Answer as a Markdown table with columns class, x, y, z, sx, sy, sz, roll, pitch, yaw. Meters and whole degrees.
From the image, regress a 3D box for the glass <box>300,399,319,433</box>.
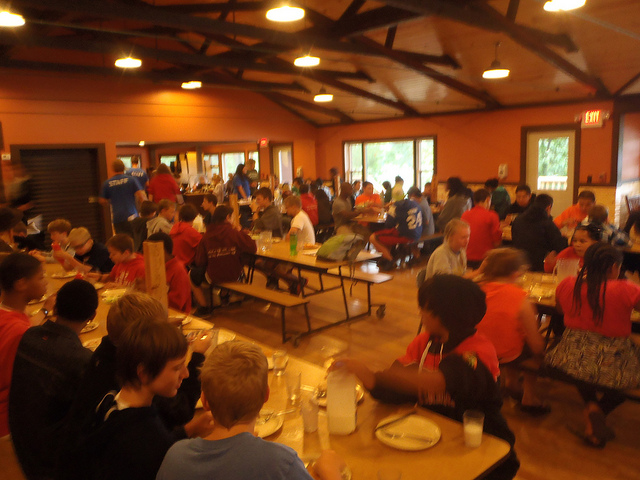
| class | x | y | z | sx | sy | sz | roll | pitch | yaw |
| --- | --- | --- | --- | --- | --- | --- | --- | --- | --- |
| glass | -0.054 | 0.886 | 2.430 | 0.083 | 0.157 | 0.088 | 0 | 13 | 2 |

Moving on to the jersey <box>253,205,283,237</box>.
| class | x | y | z | sx | sy | sz | roll | pitch | yaw |
| --- | --- | --- | --- | --- | --- | --- | --- | --- | --- |
| jersey | -0.817 | -0.269 | 7.499 | 0.417 | 0.641 | 0.447 | -3 | 9 | -8 |

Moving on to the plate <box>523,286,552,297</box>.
| class | x | y | z | sx | sy | sz | roll | pitch | yaw |
| --- | --- | --- | --- | --- | --- | --- | --- | --- | --- |
| plate | 1.965 | 0.471 | 4.252 | 0.152 | 0.041 | 0.162 | 1 | 8 | 15 |

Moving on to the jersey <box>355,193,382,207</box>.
| class | x | y | z | sx | sy | sz | roll | pitch | yaw |
| --- | --- | --- | --- | --- | --- | --- | --- | --- | --- |
| jersey | 0.953 | -0.823 | 10.134 | 0.678 | 0.234 | 0.590 | 9 | 16 | 38 |

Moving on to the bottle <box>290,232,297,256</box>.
| class | x | y | z | sx | sy | sz | roll | pitch | yaw |
| --- | --- | --- | --- | --- | --- | --- | --- | --- | --- |
| bottle | -0.317 | 0.075 | 5.933 | 0.094 | 0.236 | 0.076 | -7 | 14 | -26 |

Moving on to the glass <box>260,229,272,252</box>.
| class | x | y | z | sx | sy | sz | roll | pitch | yaw |
| --- | --- | --- | --- | --- | --- | --- | --- | --- | --- |
| glass | -0.720 | 0.026 | 6.437 | 0.235 | 0.398 | 0.242 | 0 | -2 | -8 |

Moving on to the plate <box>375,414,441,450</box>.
| class | x | y | z | sx | sy | sz | roll | pitch | yaw |
| --- | --- | --- | --- | --- | --- | --- | --- | --- | --- |
| plate | 0.407 | 0.957 | 2.351 | 0.282 | 0.325 | 0.025 | -1 | 38 | 14 |

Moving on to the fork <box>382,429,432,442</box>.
| class | x | y | z | sx | sy | sz | roll | pitch | yaw |
| --- | --- | --- | --- | --- | --- | --- | --- | --- | --- |
| fork | 0.423 | 0.963 | 2.330 | 0.234 | 0.010 | 0.060 | 3 | 13 | 16 |

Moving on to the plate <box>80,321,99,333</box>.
| class | x | y | z | sx | sy | sz | roll | pitch | yaw |
| --- | --- | --- | --- | --- | --- | --- | --- | --- | --- |
| plate | -1.697 | 0.640 | 3.569 | 0.079 | 0.032 | 0.209 | 0 | 13 | 1 |

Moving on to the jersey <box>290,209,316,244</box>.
| class | x | y | z | sx | sy | sz | roll | pitch | yaw |
| --- | --- | --- | --- | --- | --- | --- | --- | --- | --- |
| jersey | -0.257 | -0.184 | 6.841 | 0.255 | 0.495 | 0.495 | 2 | 26 | 21 |

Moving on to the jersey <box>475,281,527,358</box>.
| class | x | y | z | sx | sy | sz | roll | pitch | yaw |
| --- | --- | --- | --- | --- | --- | --- | --- | --- | --- |
| jersey | 1.408 | 0.632 | 3.673 | 0.371 | 0.632 | 0.239 | 0 | 13 | 5 |

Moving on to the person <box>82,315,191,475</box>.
| class | x | y | z | sx | sy | sz | roll | pitch | yaw |
| --- | --- | --- | --- | --- | --- | --- | --- | --- | --- |
| person | -0.812 | 0.708 | 2.120 | 0.343 | 0.954 | 0.289 | 5 | 17 | -34 |

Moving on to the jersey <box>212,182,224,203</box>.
| class | x | y | z | sx | sy | sz | roll | pitch | yaw |
| --- | --- | --- | --- | --- | --- | --- | --- | --- | --- |
| jersey | -2.581 | -1.180 | 12.055 | 0.251 | 0.470 | 0.687 | -3 | 13 | -10 |

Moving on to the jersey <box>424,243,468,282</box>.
| class | x | y | z | sx | sy | sz | roll | pitch | yaw |
| --- | --- | --- | --- | --- | --- | --- | --- | --- | --- |
| jersey | 1.294 | 0.222 | 4.711 | 0.405 | 0.338 | 0.235 | -9 | 24 | -37 |

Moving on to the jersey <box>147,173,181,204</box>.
| class | x | y | z | sx | sy | sz | roll | pitch | yaw |
| --- | --- | --- | --- | --- | --- | --- | --- | --- | --- |
| jersey | -3.067 | -0.933 | 9.434 | 0.613 | 0.673 | 0.376 | -5 | -6 | -1 |

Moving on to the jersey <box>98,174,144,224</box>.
| class | x | y | z | sx | sy | sz | roll | pitch | yaw |
| --- | --- | --- | --- | --- | --- | --- | --- | --- | --- |
| jersey | -3.424 | -0.704 | 8.261 | 0.663 | 0.837 | 0.289 | -7 | 14 | -24 |

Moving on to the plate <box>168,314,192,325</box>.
| class | x | y | z | sx | sy | sz | roll | pitch | yaw |
| --- | --- | --- | --- | --- | --- | --- | --- | --- | --- |
| plate | -1.048 | 0.600 | 3.649 | 0.110 | 0.031 | 0.109 | 7 | 6 | 39 |

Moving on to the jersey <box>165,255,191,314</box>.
| class | x | y | z | sx | sy | sz | roll | pitch | yaw |
| --- | --- | --- | --- | --- | --- | --- | --- | --- | --- |
| jersey | -1.405 | 0.462 | 4.735 | 0.198 | 0.552 | 0.297 | -3 | 13 | -11 |

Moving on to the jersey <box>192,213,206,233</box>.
| class | x | y | z | sx | sy | sz | roll | pitch | yaw |
| --- | --- | --- | --- | --- | --- | --- | --- | --- | --- |
| jersey | -1.997 | -0.288 | 7.862 | 0.160 | 0.270 | 0.965 | -4 | 13 | -13 |

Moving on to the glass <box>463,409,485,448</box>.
| class | x | y | z | sx | sy | sz | roll | pitch | yaw |
| --- | --- | --- | --- | --- | --- | --- | --- | --- | --- |
| glass | 0.746 | 0.909 | 2.326 | 0.088 | 0.128 | 0.170 | 3 | 13 | 18 |

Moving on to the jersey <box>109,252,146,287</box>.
| class | x | y | z | sx | sy | sz | roll | pitch | yaw |
| --- | --- | --- | --- | --- | --- | --- | --- | --- | --- |
| jersey | -1.785 | 0.279 | 4.445 | 0.244 | 0.239 | 0.138 | 23 | 12 | 27 |

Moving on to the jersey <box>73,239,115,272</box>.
| class | x | y | z | sx | sy | sz | roll | pitch | yaw |
| --- | --- | --- | --- | --- | --- | --- | --- | --- | --- |
| jersey | -2.398 | 0.135 | 5.188 | 0.372 | 0.394 | 0.314 | -23 | 21 | -32 |

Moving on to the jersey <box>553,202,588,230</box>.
| class | x | y | z | sx | sy | sz | roll | pitch | yaw |
| --- | --- | --- | --- | --- | --- | --- | --- | --- | --- |
| jersey | 3.293 | -0.289 | 6.249 | 0.387 | 0.407 | 0.410 | 10 | 17 | 41 |

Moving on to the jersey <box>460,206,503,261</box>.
| class | x | y | z | sx | sy | sz | roll | pitch | yaw |
| --- | --- | --- | --- | --- | --- | --- | --- | --- | --- |
| jersey | 2.113 | -0.078 | 6.263 | 0.402 | 0.731 | 0.561 | -15 | 19 | -38 |
